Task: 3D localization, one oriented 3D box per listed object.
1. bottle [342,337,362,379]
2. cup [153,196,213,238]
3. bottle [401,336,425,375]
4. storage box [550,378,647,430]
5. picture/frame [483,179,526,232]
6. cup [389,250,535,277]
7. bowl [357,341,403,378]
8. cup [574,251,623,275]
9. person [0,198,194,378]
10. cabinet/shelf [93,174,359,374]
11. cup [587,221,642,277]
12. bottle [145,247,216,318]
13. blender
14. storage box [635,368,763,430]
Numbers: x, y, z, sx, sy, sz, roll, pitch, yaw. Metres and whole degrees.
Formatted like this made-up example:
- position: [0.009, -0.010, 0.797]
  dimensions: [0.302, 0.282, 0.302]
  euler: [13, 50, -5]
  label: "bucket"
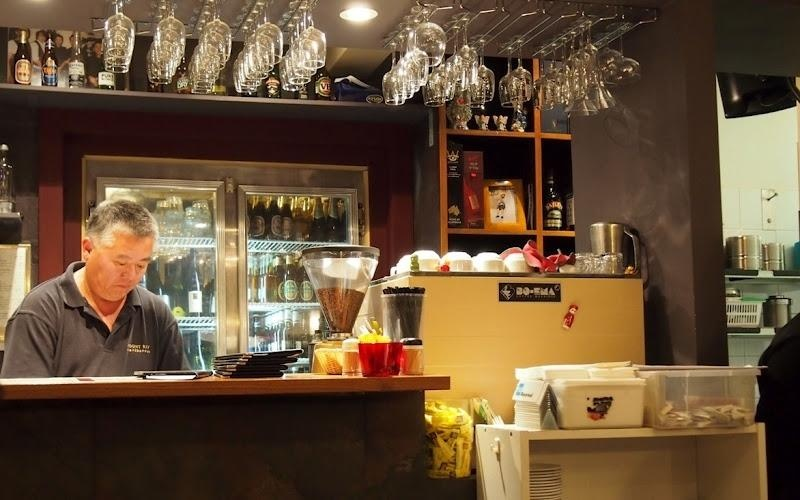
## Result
- position: [-0.213, 0.470, 3.222]
  dimensions: [0.092, 0.151, 0.152]
  euler: [0, -9, -9]
  label: "bottle"
- position: [-1.568, -0.242, 5.369]
  dimensions: [0.511, 0.337, 0.275]
  euler: [0, -8, -10]
  label: "cup"
- position: [0.053, 0.453, 3.182]
  dimensions: [0.107, 0.153, 0.105]
  euler: [1, -8, 0]
  label: "bottle"
- position: [0.859, 0.652, 3.065]
  dimensions: [0.331, 0.168, 0.237]
  euler: [0, -4, -1]
  label: "storage box"
- position: [0.723, -0.263, 5.331]
  dimensions: [0.297, 0.393, 0.332]
  euler: [-1, -18, -1]
  label: "picture/frame"
- position: [0.319, 0.067, 3.680]
  dimensions: [0.438, 0.117, 0.258]
  euler: [0, -6, -8]
  label: "cup"
- position: [-0.089, 0.459, 3.095]
  dimensions: [0.136, 0.112, 0.155]
  euler: [0, -7, 2]
  label: "bowl"
- position: [1.028, 0.063, 3.800]
  dimensions: [0.202, 0.133, 0.114]
  euler: [-1, -2, 6]
  label: "cup"
- position: [-1.746, 0.209, 4.122]
  dimensions: [0.559, 1.041, 1.065]
  euler: [-11, -14, 41]
  label: "person"
- position: [-1.150, 0.148, 4.627]
  dimensions: [1.451, 1.372, 0.472]
  euler: [1, -6, -20]
  label: "cabinet/shelf"
- position: [1.145, -0.008, 3.982]
  dimensions: [0.291, 0.287, 0.195]
  euler: [1, -10, 12]
  label: "cup"
- position: [-1.518, 0.237, 5.092]
  dimensions: [0.500, 0.463, 0.164]
  euler: [0, -8, 1]
  label: "bottle"
- position: [-0.262, 0.264, 3.325]
  dimensions: [0.341, 0.563, 0.192]
  euler: [0, -3, -7]
  label: "blender"
- position: [1.314, 0.639, 3.222]
  dimensions: [0.534, 0.272, 0.111]
  euler: [0, -3, -12]
  label: "storage box"
